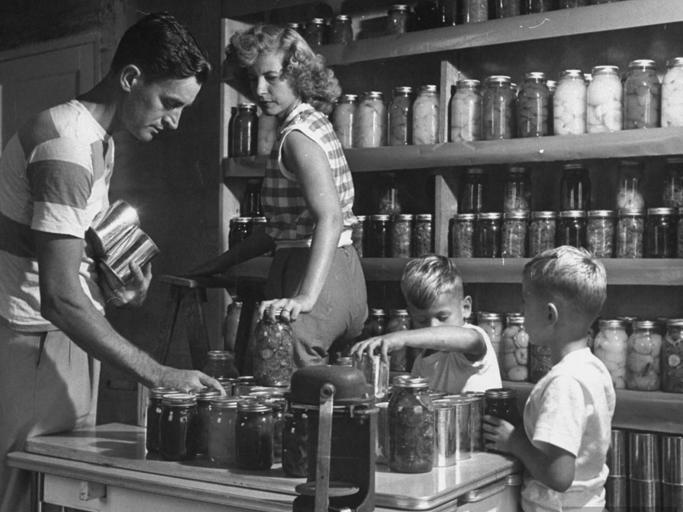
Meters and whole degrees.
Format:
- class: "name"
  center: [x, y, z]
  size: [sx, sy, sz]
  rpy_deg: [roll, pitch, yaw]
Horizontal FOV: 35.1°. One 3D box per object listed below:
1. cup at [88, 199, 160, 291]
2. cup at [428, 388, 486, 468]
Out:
- class: "cup"
  center: [-0.666, -0.037, 3.060]
  size: [0.195, 0.164, 0.257]
  rpy_deg: [-42, 14, -11]
- class: "cup"
  center: [0.300, 0.438, 2.710]
  size: [0.107, 0.126, 0.181]
  rpy_deg: [0, -2, 14]
